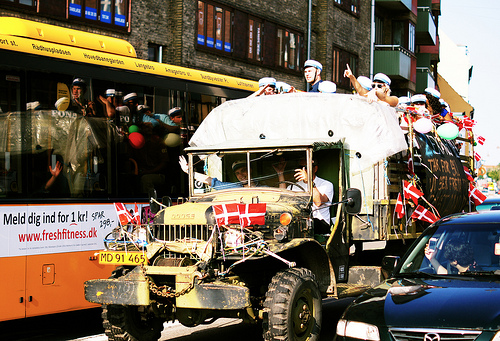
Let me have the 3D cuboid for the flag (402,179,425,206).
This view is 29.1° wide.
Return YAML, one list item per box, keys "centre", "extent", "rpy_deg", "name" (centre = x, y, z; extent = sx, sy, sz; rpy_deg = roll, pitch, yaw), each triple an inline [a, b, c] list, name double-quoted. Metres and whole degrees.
- centre: [3.342, 0.432, 19.662]
  extent: [0.059, 0.728, 0.287]
  rpy_deg: [23, 28, 1]
  name: "flag"

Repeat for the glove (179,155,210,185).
- centre: [-1.083, -0.007, 18.821]
  extent: [0.751, 0.186, 0.230]
  rpy_deg: [28, 32, -7]
  name: "glove"

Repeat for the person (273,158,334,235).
- centre: [1.057, 0.406, 18.207]
  extent: [0.843, 1.471, 0.788]
  rpy_deg: [2, 13, 44]
  name: "person"

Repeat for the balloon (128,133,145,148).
- centre: [-2.351, -0.611, 19.984]
  extent: [0.235, 0.243, 0.303]
  rpy_deg: [35, 9, -24]
  name: "balloon"

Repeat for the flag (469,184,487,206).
- centre: [5.179, 0.585, 22.155]
  extent: [0.415, 0.432, 0.125]
  rpy_deg: [40, -16, -8]
  name: "flag"

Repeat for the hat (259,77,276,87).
- centre: [0.401, -1.996, 21.448]
  extent: [0.241, 0.142, 0.249]
  rpy_deg: [-3, -5, 42]
  name: "hat"

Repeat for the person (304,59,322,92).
- centre: [1.366, -2.042, 20.922]
  extent: [0.360, 0.763, 1.187]
  rpy_deg: [1, 1, 4]
  name: "person"

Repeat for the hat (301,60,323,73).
- centre: [1.380, -2.246, 21.021]
  extent: [0.405, 0.239, 0.299]
  rpy_deg: [0, 4, -37]
  name: "hat"

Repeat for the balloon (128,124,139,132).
- centre: [-2.410, -0.842, 19.958]
  extent: [0.135, 0.155, 0.148]
  rpy_deg: [1, 23, -4]
  name: "balloon"

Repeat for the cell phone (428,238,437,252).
- centre: [3.103, 1.289, 16.447]
  extent: [0.153, 0.324, 0.042]
  rpy_deg: [8, -26, 16]
  name: "cell phone"

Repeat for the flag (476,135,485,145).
- centre: [5.519, -0.707, 23.136]
  extent: [0.168, 0.193, 1.118]
  rpy_deg: [1, 1, 12]
  name: "flag"

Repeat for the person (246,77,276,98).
- centre: [0.315, -1.824, 21.292]
  extent: [0.257, 0.394, 0.910]
  rpy_deg: [1, -5, 18]
  name: "person"

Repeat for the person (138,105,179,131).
- centre: [-2.019, -1.207, 20.524]
  extent: [0.791, 0.297, 0.520]
  rpy_deg: [20, 16, -6]
  name: "person"
